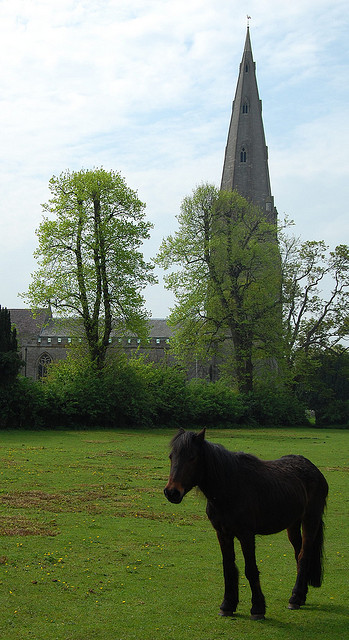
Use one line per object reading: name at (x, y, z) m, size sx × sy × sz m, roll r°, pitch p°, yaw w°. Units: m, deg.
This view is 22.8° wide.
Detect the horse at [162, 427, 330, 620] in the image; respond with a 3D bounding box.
horse at (0.787, 2.090, 8.760) m, size 2.445 × 1.719 × 0.674 m, roll 10°, pitch -13°, yaw -41°
